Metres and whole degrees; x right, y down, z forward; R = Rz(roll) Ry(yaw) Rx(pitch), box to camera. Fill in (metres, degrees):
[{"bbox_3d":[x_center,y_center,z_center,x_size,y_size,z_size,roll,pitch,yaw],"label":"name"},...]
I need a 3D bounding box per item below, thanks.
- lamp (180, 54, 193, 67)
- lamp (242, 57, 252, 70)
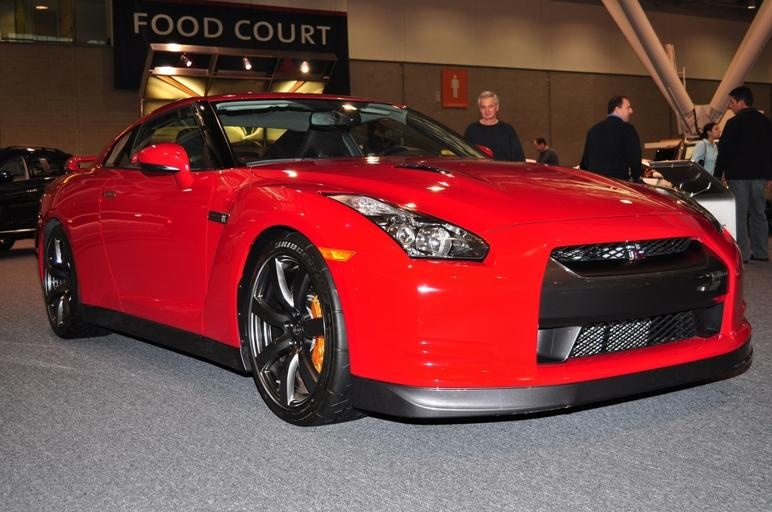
[{"bbox_3d":[-5.508,-5.365,13.949,0.179,0.184,0.328,-12,40,-29],"label":"lamp"},{"bbox_3d":[-4.053,-5.568,14.788,0.206,0.298,0.346,-2,6,0],"label":"lamp"}]
